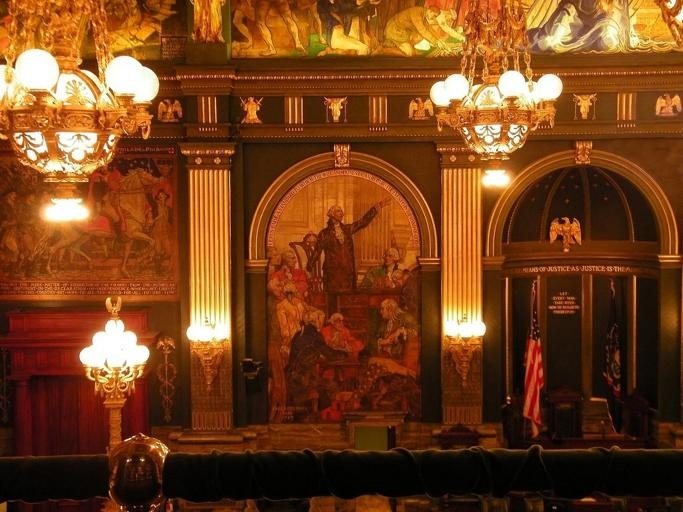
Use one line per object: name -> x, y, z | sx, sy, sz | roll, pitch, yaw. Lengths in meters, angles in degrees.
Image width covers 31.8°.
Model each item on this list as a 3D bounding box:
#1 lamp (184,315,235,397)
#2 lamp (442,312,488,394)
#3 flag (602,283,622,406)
lamp -> -2.063, 1.505, 18.732 | 0.646, 1.105, 0.309 | -2, 14, -2
lamp -> 1.937, 1.482, 18.922 | 0.624, 1.140, 0.299 | 0, 14, 4
flag -> 4.523, 1.402, 19.973 | 0.307, 1.945, 0.868 | 1, 14, 8
